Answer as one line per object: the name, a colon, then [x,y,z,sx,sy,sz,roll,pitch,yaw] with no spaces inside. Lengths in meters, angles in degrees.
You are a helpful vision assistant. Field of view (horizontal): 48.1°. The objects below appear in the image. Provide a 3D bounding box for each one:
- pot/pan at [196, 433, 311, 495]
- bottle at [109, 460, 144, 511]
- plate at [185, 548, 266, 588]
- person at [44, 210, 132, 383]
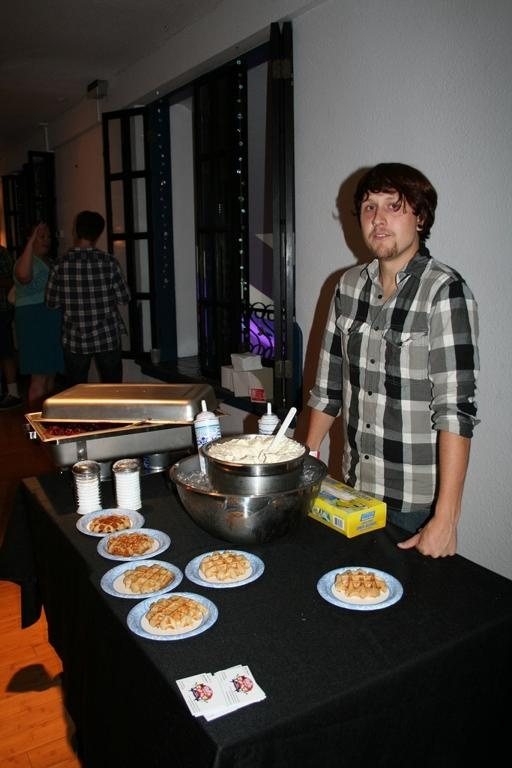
pot/pan: [0.003,0.155,1.096,0.132,0.045,0.133,-4,15,-16]
bottle: [-0.313,0.247,1.375,0.081,0.135,0.081,0,15,0]
plate: [-0.052,0.330,1.023,0.069,0.012,0.069,-11,17,-31]
person: [-1.199,-0.430,4.108,0.529,1.510,0.449,-6,24,-22]
